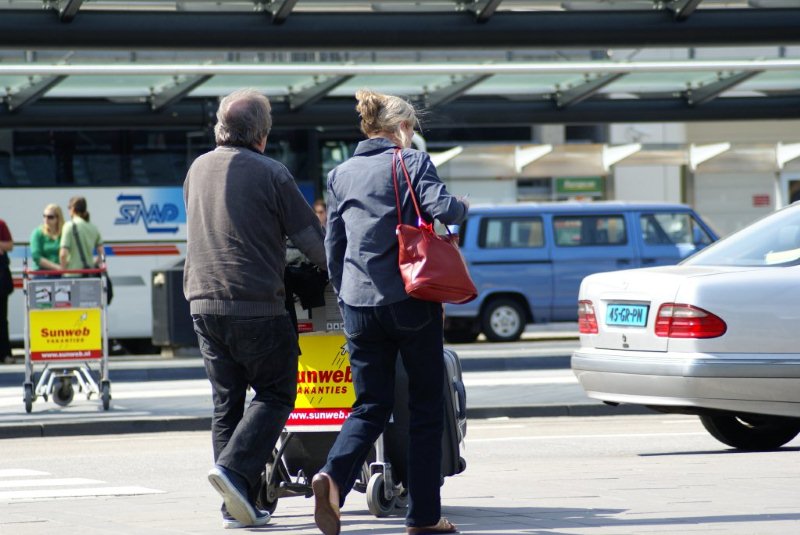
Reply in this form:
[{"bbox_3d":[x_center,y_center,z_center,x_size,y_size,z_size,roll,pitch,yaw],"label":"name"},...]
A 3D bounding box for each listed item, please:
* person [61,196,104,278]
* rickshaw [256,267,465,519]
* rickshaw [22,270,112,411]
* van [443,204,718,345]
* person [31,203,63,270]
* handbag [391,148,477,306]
[{"bbox_3d":[-4.466,-0.399,25.358,0.621,1.048,0.330,-7,11,-40],"label":"person"},{"bbox_3d":[-0.381,1.211,19.184,1.591,2.303,2.272,-1,1,36],"label":"rickshaw"},{"bbox_3d":[-4.361,0.991,23.752,1.096,1.848,0.785,0,-10,-9],"label":"rickshaw"},{"bbox_3d":[2.626,0.127,33.179,4.606,2.410,2.434,-1,0,-5],"label":"van"},{"bbox_3d":[-5.013,-0.369,25.937,0.528,1.039,0.564,6,14,11],"label":"person"},{"bbox_3d":[0.328,-0.415,17.906,0.750,1.541,0.223,-2,-10,1],"label":"handbag"}]
